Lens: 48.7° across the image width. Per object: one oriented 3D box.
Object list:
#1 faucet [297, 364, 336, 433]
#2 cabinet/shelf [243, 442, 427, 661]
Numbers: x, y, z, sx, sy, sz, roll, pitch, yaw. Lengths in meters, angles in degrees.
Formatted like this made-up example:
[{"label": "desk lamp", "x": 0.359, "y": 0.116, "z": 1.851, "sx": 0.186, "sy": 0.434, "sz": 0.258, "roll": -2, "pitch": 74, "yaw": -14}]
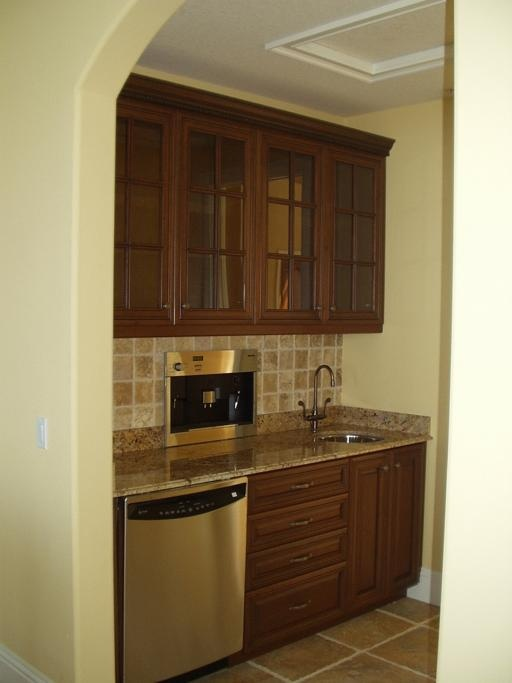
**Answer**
[{"label": "faucet", "x": 0.375, "y": 0.338, "z": 3.518, "sx": 0.213, "sy": 0.408, "sz": 0.466, "roll": 4, "pitch": 4, "yaw": 8}, {"label": "cabinet/shelf", "x": 0.369, "y": 1.054, "z": 2.818, "sx": 1.093, "sy": 0.831, "sz": 0.569, "roll": -3, "pitch": 1, "yaw": -40}]
